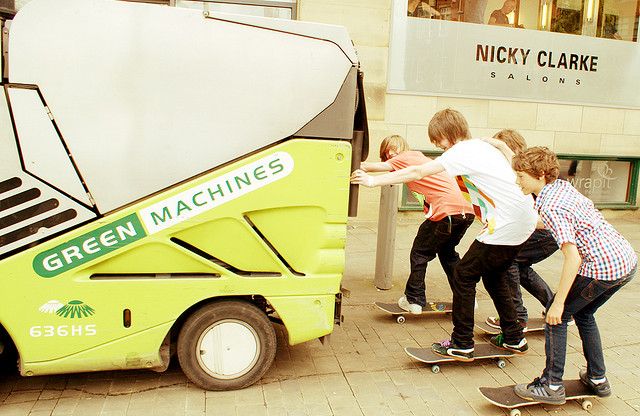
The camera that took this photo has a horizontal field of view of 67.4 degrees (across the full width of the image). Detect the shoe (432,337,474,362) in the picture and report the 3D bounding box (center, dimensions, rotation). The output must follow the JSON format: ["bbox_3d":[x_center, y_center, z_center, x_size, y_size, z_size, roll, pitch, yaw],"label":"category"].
[{"bbox_3d":[1.333,1.439,4.926,0.528,0.224,0.172,11,-2,5],"label":"shoe"}]

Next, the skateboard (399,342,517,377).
[{"bbox_3d":[1.375,1.489,4.932,1.354,0.209,0.393,-1,10,-10],"label":"skateboard"}]

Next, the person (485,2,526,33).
[{"bbox_3d":[4.001,-4.119,10.350,0.971,0.611,0.301,-6,18,-21],"label":"person"}]

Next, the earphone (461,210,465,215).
[{"bbox_3d":[1.589,0.045,5.327,0.060,0.056,0.015,3,1,-2],"label":"earphone"}]

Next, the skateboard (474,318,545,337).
[{"bbox_3d":[2.258,1.379,5.632,0.847,0.136,0.315,-1,16,-5],"label":"skateboard"}]

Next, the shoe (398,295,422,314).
[{"bbox_3d":[1.068,1.156,5.766,0.128,0.132,0.303,-1,10,-24],"label":"shoe"}]

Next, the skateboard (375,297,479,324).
[{"bbox_3d":[1.549,1.295,5.949,1.689,0.262,0.428,1,16,-8],"label":"skateboard"}]

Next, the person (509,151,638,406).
[{"bbox_3d":[2.252,0.611,4.276,1.017,2.165,0.659,0,17,-4],"label":"person"}]

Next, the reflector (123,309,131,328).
[{"bbox_3d":[-1.668,0.942,4.130,0.064,0.163,0.025,-2,18,-10],"label":"reflector"}]

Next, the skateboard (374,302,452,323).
[{"bbox_3d":[1.066,1.221,5.835,1.243,0.190,0.312,1,23,-13],"label":"skateboard"}]

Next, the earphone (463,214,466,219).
[{"bbox_3d":[1.609,0.089,5.351,0.035,0.054,0.010,3,2,-1],"label":"earphone"}]
